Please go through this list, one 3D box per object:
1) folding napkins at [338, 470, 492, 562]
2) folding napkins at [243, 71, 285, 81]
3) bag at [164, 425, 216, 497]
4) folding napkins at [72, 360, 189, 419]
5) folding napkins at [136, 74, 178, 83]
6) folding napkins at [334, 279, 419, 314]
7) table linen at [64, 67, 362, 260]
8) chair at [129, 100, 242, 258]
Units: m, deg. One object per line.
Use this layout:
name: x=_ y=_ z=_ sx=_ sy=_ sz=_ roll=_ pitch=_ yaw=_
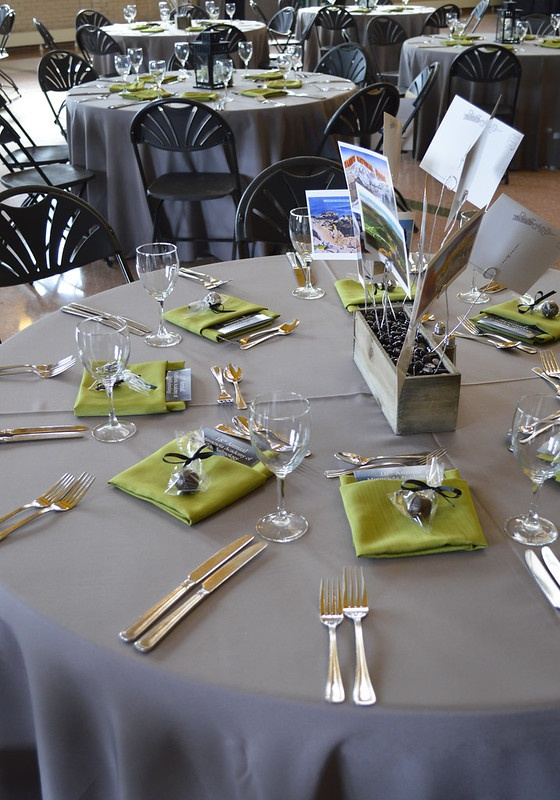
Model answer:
folding napkins: x=0.157 y=0.135 z=0.726 sx=0.102 sy=0.017 sz=0.104 roll=-3 pitch=30 yaw=-2
folding napkins: x=-0.102 y=-2.157 z=4.019 sx=0.180 sy=0.046 sz=0.178 roll=6 pitch=29 yaw=13
bag: x=-0.121 y=0.085 z=0.828 sx=0.061 sy=0.024 sz=0.101 roll=2 pitch=30 yaw=1
folding napkins: x=-0.257 y=-0.007 z=1.027 sx=0.125 sy=0.031 sz=0.126 roll=-3 pitch=28 yaw=-9
folding napkins: x=-0.797 y=-2.147 z=4.029 sx=0.240 sy=0.080 sz=0.240 roll=2 pitch=25 yaw=0
folding napkins: x=0.203 y=-0.213 z=1.250 sx=0.126 sy=0.028 sz=0.124 roll=-6 pitch=33 yaw=-11
table linen: x=-0.464 y=-1.311 z=3.714 sx=1.196 sy=0.782 sz=1.197 roll=-1 pitch=45 yaw=0
chair: x=-0.471 y=-1.167 z=3.133 sx=0.536 sy=0.710 sz=0.545 roll=-4 pitch=25 yaw=-3
